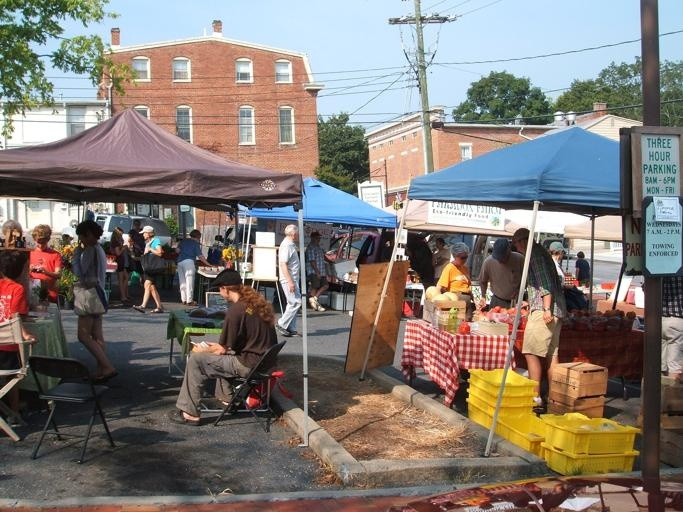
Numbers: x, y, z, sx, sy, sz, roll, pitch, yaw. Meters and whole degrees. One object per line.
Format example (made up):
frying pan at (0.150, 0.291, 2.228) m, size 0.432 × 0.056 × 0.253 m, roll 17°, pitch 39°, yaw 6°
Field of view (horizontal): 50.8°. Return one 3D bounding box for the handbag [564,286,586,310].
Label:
handbag at (3.602, 0.653, 11.073) m, size 0.369 × 0.417 × 0.261 m, roll 2°, pitch -12°, yaw -29°

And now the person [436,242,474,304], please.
person at (1.750, 0.205, 10.918) m, size 0.501 × 0.779 × 1.668 m, roll 1°, pitch 5°, yaw 10°

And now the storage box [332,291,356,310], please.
storage box at (0.049, 1.142, 18.190) m, size 0.663 × 0.335 × 0.609 m, roll 1°, pitch 3°, yaw 2°

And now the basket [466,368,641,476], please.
basket at (2.261, 1.844, 8.209) m, size 0.990 × 0.588 × 1.634 m, roll 5°, pitch -2°, yaw -21°

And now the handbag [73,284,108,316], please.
handbag at (-3.400, 0.588, 9.760) m, size 0.514 × 0.474 × 0.288 m, roll -4°, pitch 1°, yaw -19°

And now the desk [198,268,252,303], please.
desk at (-2.709, 0.640, 16.645) m, size 1.588 × 0.831 × 0.830 m, roll 3°, pitch 0°, yaw -5°

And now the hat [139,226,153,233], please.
hat at (-4.570, -0.635, 17.032) m, size 0.360 × 0.141 × 0.243 m, roll 1°, pitch -1°, yaw -21°

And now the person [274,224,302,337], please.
person at (-0.991, 0.492, 13.814) m, size 0.439 × 2.181 × 1.009 m, roll 0°, pitch 6°, yaw -5°

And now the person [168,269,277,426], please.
person at (-1.378, 1.093, 8.677) m, size 1.173 × 1.824 × 0.303 m, roll 0°, pitch 6°, yaw -6°

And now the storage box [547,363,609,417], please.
storage box at (2.833, 1.572, 8.839) m, size 0.728 × 0.611 × 0.695 m, roll 3°, pitch 1°, yaw -22°

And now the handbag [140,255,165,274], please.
handbag at (-4.368, 0.179, 16.730) m, size 0.531 × 0.459 × 0.251 m, roll -1°, pitch 4°, yaw -20°

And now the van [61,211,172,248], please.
van at (-8.097, -1.018, 25.137) m, size 4.269 × 1.583 × 2.187 m, roll 4°, pitch 5°, yaw 4°

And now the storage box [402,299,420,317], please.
storage box at (1.729, 1.265, 17.498) m, size 0.408 × 0.348 × 1.039 m, roll 1°, pitch 5°, yaw 6°

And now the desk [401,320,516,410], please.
desk at (1.541, 1.262, 9.449) m, size 1.169 × 0.727 × 1.621 m, roll 2°, pitch 0°, yaw -16°

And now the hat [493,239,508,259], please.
hat at (2.373, -0.097, 10.668) m, size 0.235 × 0.291 × 0.164 m, roll 5°, pitch -14°, yaw 20°

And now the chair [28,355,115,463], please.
chair at (-3.027, 1.523, 8.143) m, size 0.848 × 1.109 × 1.770 m, roll -2°, pitch 6°, yaw -19°

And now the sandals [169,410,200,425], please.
sandals at (-1.906, 1.963, 8.723) m, size 0.402 × 0.143 × 0.152 m, roll 10°, pitch 1°, yaw 12°

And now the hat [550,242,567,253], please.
hat at (4.514, -0.196, 14.810) m, size 0.390 × 0.192 × 0.263 m, roll -9°, pitch 13°, yaw -25°
